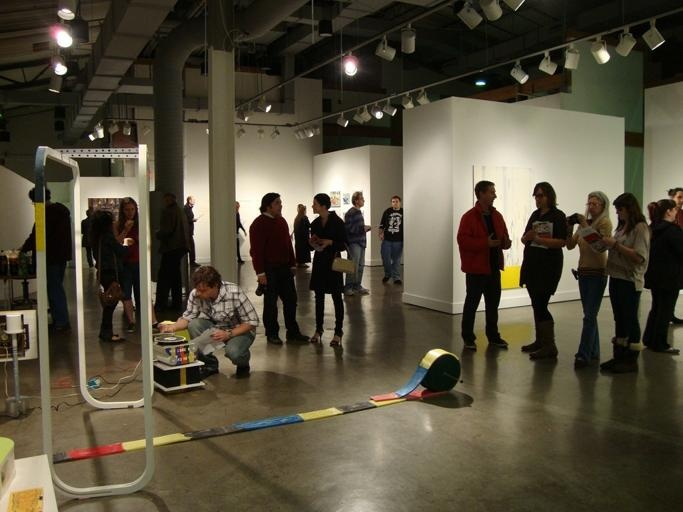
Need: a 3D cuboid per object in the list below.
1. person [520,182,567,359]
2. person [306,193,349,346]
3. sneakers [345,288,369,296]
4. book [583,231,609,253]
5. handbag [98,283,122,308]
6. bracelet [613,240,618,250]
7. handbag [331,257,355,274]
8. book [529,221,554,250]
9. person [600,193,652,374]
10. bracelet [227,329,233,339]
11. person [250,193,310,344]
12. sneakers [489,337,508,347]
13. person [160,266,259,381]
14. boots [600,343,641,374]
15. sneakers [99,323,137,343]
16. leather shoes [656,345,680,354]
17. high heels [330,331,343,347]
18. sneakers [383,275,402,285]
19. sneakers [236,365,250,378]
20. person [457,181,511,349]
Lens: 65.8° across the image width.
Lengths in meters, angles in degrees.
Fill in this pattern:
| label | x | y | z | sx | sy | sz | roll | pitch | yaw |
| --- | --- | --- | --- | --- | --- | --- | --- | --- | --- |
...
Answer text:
| label | x | y | z | sx | sy | sz | roll | pitch | yaw |
| --- | --- | --- | --- | --- | --- | --- | --- | --- | --- |
| person | 2.380 | 0.176 | 6.233 | 0.521 | 2.067 | 0.494 | 2 | 6 | 21 |
| person | -0.190 | 0.158 | 7.159 | 0.481 | 1.980 | 0.790 | 0 | 6 | 0 |
| sneakers | 0.320 | 0.742 | 10.884 | 0.499 | 0.249 | 0.179 | -2 | 1 | -9 |
| book | 2.707 | -0.149 | 5.609 | 0.233 | 0.178 | 0.097 | 36 | 48 | -1 |
| handbag | -2.889 | 0.485 | 6.557 | 0.247 | 0.348 | 0.446 | -5 | 8 | -41 |
| bracelet | 2.918 | -0.115 | 5.618 | 0.046 | 0.079 | 0.065 | 3 | 6 | 25 |
| handbag | 0.034 | 0.122 | 7.066 | 0.244 | 0.230 | 0.385 | 2 | 7 | 21 |
| book | 2.284 | -0.238 | 6.045 | 0.253 | 0.313 | 0.138 | 3 | 6 | 27 |
| person | 3.073 | 0.281 | 5.740 | 0.407 | 1.910 | 0.486 | 4 | 7 | 34 |
| bracelet | -1.195 | 0.826 | 5.616 | 0.048 | 0.084 | 0.076 | 8 | -31 | -15 |
| person | -0.856 | 0.167 | 7.084 | 0.735 | 1.998 | 0.520 | -2 | 6 | -16 |
| sneakers | 2.008 | 1.114 | 6.839 | 0.093 | 0.117 | 0.264 | 1 | -5 | -36 |
| person | -1.484 | 0.635 | 6.099 | 0.894 | 1.484 | 1.206 | 7 | 11 | 27 |
| boots | 3.025 | 1.097 | 5.819 | 0.342 | 0.391 | 0.293 | 2 | 0 | -11 |
| sneakers | -3.117 | 1.080 | 7.396 | 0.480 | 0.214 | 0.165 | -6 | 8 | -36 |
| leather shoes | 3.977 | 1.153 | 6.437 | 0.310 | 0.141 | 0.113 | -1 | -1 | -5 |
| high heels | -0.077 | 1.100 | 6.959 | 0.158 | 0.130 | 0.332 | 0 | 6 | -3 |
| sneakers | 1.166 | 0.557 | 12.408 | 0.170 | 0.282 | 0.662 | -3 | 3 | -19 |
| sneakers | -1.080 | 1.268 | 5.796 | 0.145 | 0.161 | 0.090 | 3 | -2 | -12 |
| person | 1.803 | 0.110 | 6.696 | 0.640 | 2.095 | 0.452 | -3 | 6 | -26 |
